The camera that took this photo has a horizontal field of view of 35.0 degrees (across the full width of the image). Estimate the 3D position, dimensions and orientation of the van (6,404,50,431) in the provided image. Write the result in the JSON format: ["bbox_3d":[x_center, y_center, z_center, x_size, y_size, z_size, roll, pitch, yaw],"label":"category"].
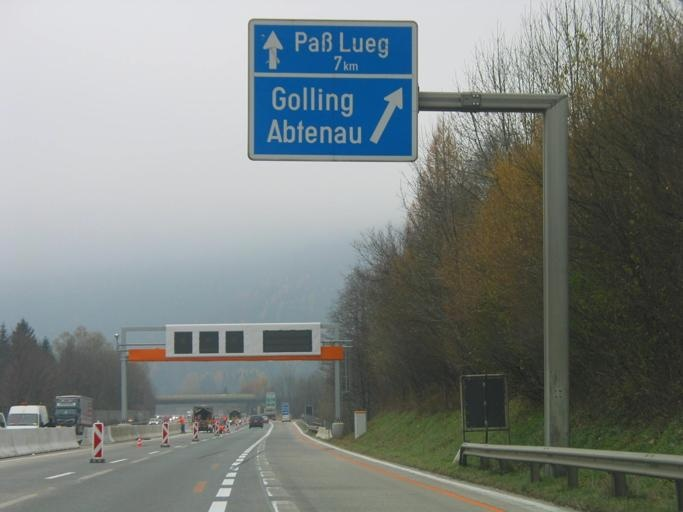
[{"bbox_3d":[-18.748,9.605,64.890,1.939,1.559,4.663,-3,-13,-8],"label":"van"}]
